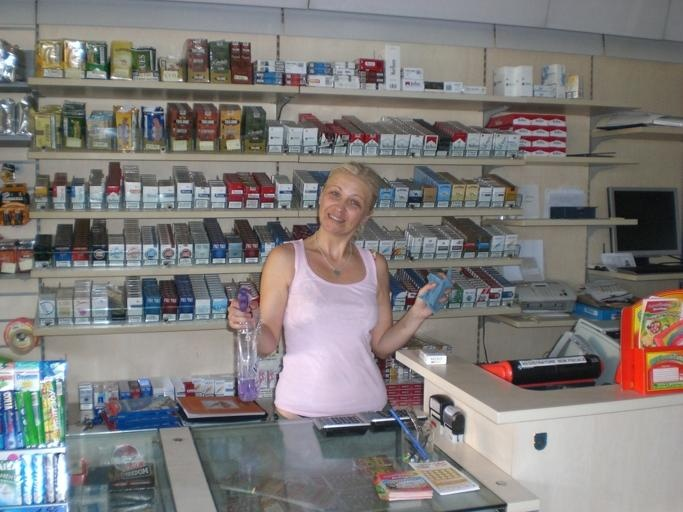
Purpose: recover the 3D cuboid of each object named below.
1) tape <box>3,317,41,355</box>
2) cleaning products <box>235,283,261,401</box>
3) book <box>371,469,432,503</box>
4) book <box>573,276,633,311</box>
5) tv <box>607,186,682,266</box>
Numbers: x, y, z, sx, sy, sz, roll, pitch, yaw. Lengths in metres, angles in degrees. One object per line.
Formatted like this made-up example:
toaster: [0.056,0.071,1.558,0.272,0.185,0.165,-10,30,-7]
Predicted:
tape: [-1.967,0.499,3.443,0.210,0.247,0.202,-5,7,-14]
cleaning products: [-0.341,0.315,2.015,0.080,0.445,0.273,-5,7,-11]
book: [0.176,0.665,1.643,0.168,0.055,0.114,-4,7,-10]
book: [1.889,0.256,4.107,0.357,0.205,0.204,-2,8,-6]
tv: [2.360,-0.252,4.398,0.635,0.541,0.058,-2,7,-13]
